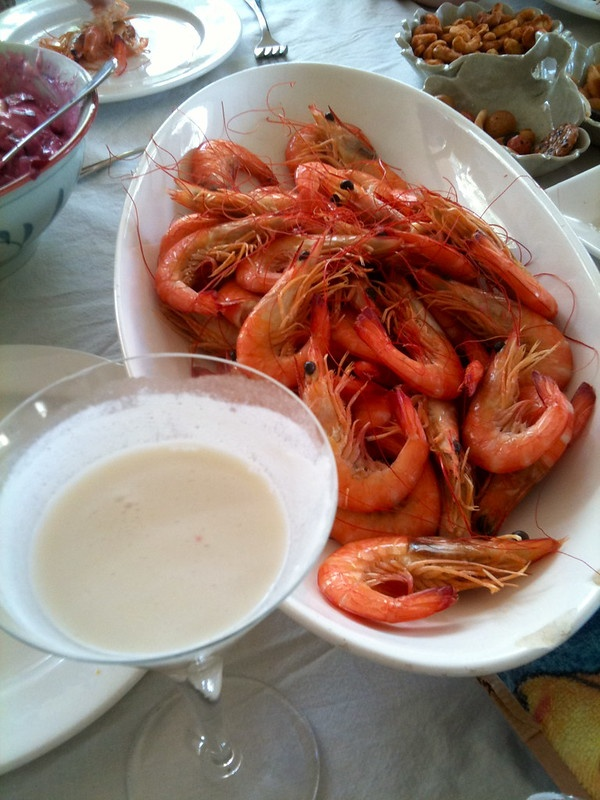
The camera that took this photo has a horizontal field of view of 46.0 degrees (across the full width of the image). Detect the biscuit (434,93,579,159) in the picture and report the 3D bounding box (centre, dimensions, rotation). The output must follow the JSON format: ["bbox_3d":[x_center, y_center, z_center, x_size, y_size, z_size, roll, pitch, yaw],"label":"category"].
[{"bbox_3d":[0.326,-0.408,1.087,0.170,0.042,0.165,33,18,20],"label":"biscuit"}]

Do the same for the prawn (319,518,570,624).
[{"bbox_3d":[0.110,0.101,0.602,0.282,0.087,0.118,2,17,-3],"label":"prawn"}]
